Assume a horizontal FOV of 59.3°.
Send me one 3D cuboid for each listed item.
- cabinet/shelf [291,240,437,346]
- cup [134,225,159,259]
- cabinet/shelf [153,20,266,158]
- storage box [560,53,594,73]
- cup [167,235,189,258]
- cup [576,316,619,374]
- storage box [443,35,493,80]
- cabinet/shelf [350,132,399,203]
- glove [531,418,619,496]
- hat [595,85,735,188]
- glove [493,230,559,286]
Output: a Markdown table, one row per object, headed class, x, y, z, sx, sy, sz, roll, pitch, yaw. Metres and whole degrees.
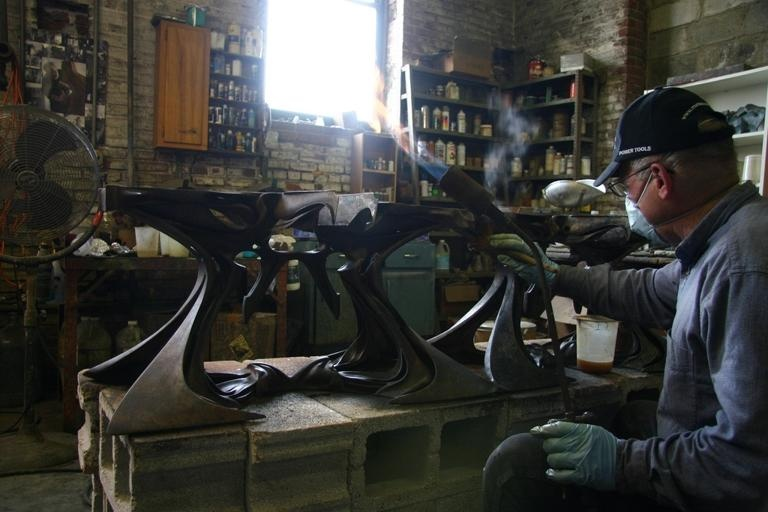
| class | x | y | z | sx | sy | sz | roll | pitch | yaw |
| --- | --- | --- | --- | --- | --- | --- | --- | --- | --- |
| cabinet/shelf | -0.181 | 0.383 | 6.785 | 1.683 | 1.334 | 0.938 | -2 | 3 | -13 |
| cup | -1.806 | -0.108 | 5.107 | 0.187 | 0.227 | 0.140 | -2 | 3 | 0 |
| cabinet/shelf | -1.743 | -1.620 | 6.506 | 1.418 | 1.292 | 0.393 | 2 | -4 | -32 |
| storage box | 2.175 | -2.193 | 7.724 | 0.295 | 0.169 | 0.279 | -4 | 7 | -39 |
| cup | -1.350 | -0.060 | 4.364 | 0.161 | 0.148 | 0.088 | 0 | 7 | -13 |
| cup | 1.149 | 0.482 | 3.691 | 0.282 | 0.288 | 0.299 | 0 | -1 | 0 |
| storage box | 0.929 | -2.264 | 7.850 | 0.596 | 0.360 | 0.318 | 0 | 5 | -39 |
| cabinet/shelf | -0.133 | -0.998 | 7.580 | 0.545 | 0.746 | 0.290 | -3 | 3 | -3 |
| glove | 0.812 | 0.823 | 2.918 | 0.379 | 0.282 | 0.282 | 8 | -7 | 5 |
| hat | 1.259 | -0.561 | 3.017 | 0.433 | 0.296 | 0.577 | -7 | -6 | -9 |
| glove | 0.698 | 0.016 | 3.446 | 0.320 | 0.111 | 0.236 | 27 | -17 | 7 |
